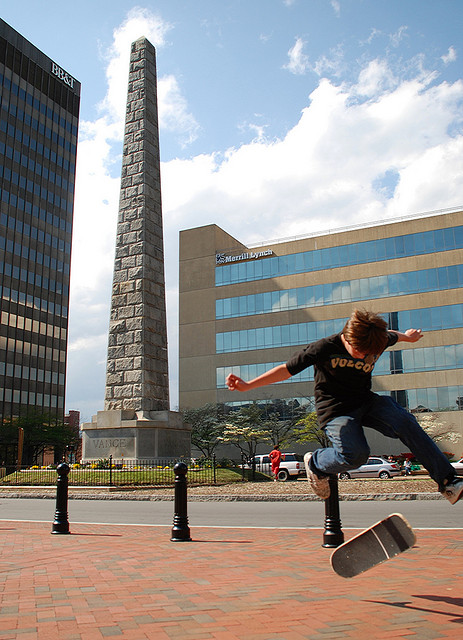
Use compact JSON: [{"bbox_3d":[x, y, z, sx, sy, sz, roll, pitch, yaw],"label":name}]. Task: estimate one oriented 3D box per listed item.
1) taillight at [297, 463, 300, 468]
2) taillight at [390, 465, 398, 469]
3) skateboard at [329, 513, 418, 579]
[{"bbox_3d":[3.500,7.736,27.763,0.075,0.230,0.414,-9,-10,17],"label":"taillight"},{"bbox_3d":[8.751,7.998,28.371,0.267,0.195,0.272,-3,-10,-11],"label":"taillight"},{"bbox_3d":[0.961,1.516,3.519,0.765,0.326,0.110,-30,0,27],"label":"skateboard"}]
